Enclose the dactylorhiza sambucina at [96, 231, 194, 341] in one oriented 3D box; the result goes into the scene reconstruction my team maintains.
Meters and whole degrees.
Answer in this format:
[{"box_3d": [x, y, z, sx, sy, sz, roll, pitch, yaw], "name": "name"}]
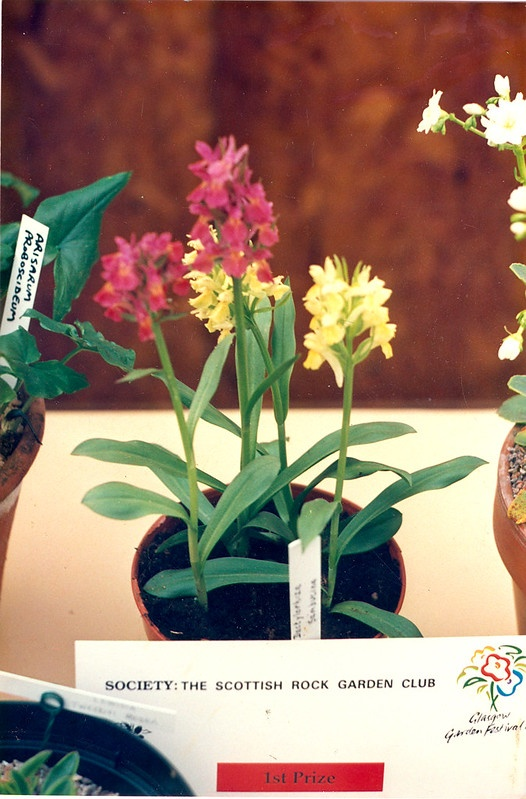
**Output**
[{"box_3d": [-0.094, -0.086, 0.546, 0.067, 0.089, 0.153, -6, 18, -7], "name": "dactylorhiza sambucina"}]
